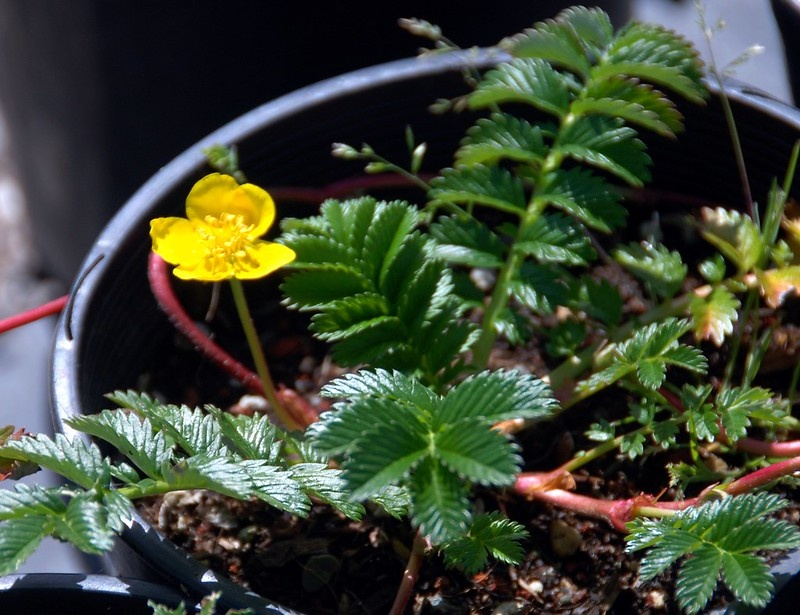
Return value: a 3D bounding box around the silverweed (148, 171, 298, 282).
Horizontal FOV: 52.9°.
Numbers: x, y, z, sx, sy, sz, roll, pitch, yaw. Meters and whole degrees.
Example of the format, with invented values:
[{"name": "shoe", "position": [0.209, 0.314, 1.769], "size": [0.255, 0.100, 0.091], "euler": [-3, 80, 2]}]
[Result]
[{"name": "silverweed", "position": [-0.245, -0.095, 1.123], "size": [0.203, 0.194, 0.070], "euler": [-18, 66, 17]}]
